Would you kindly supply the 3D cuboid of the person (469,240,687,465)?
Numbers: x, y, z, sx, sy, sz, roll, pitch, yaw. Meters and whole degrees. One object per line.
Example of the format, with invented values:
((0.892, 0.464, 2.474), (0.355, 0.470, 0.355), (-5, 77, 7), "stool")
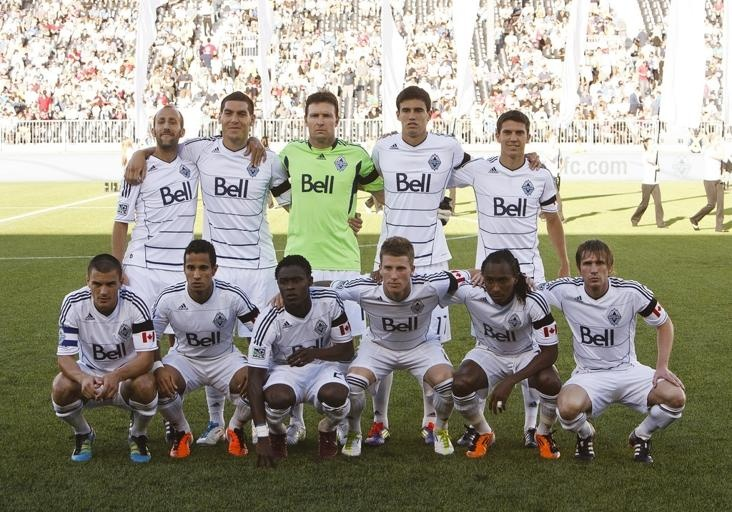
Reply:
((1.879, 0.777, 6.469), (1.273, 1.795, 1.026), (-3, -6, 28), "person")

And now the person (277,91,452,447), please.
((-0.346, -0.046, 7.164), (0.975, 2.839, 0.675), (-4, 30, -10), "person")

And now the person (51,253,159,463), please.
((-2.035, 0.787, 6.308), (0.794, 1.577, 0.556), (-2, 12, -10), "person")

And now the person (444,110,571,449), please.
((1.239, 0.070, 7.346), (1.125, 2.788, 0.653), (5, 28, 23), "person")

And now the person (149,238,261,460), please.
((-1.306, 0.775, 6.494), (0.990, 1.690, 0.952), (0, 12, 0), "person")

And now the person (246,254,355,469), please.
((-0.554, 0.831, 6.412), (0.908, 1.565, 0.856), (-5, 2, -31), "person")
